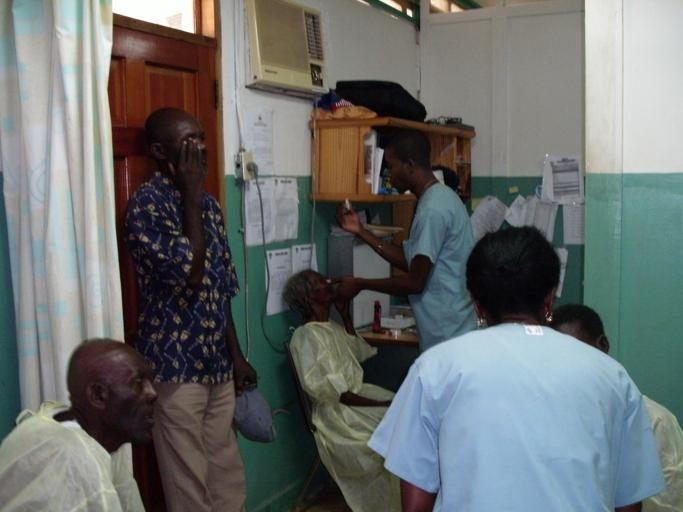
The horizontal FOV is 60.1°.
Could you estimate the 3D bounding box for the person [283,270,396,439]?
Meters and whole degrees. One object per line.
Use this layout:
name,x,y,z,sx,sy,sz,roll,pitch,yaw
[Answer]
person,-0.011,0.475,3.062,0.463,0.877,0.570,-13,0,26
